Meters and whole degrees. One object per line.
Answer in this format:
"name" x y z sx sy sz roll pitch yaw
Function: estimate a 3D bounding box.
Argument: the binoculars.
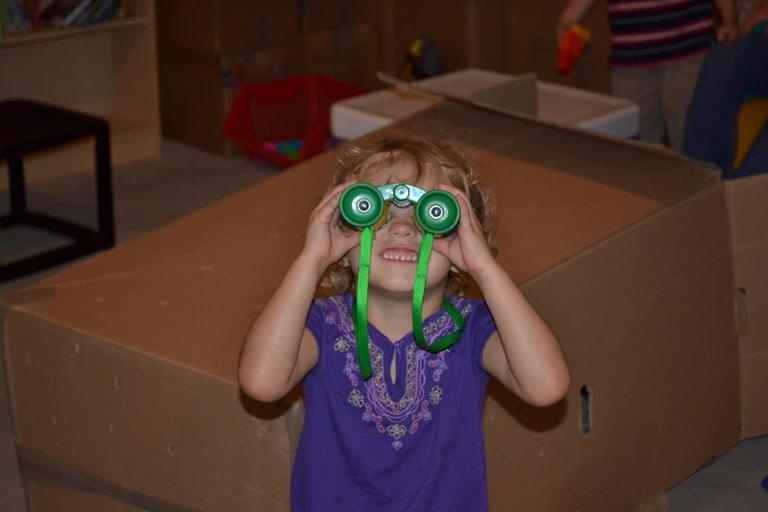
"binoculars" 0.024 -0.075 0.997 0.175 0.075 0.067 -2 26 1
